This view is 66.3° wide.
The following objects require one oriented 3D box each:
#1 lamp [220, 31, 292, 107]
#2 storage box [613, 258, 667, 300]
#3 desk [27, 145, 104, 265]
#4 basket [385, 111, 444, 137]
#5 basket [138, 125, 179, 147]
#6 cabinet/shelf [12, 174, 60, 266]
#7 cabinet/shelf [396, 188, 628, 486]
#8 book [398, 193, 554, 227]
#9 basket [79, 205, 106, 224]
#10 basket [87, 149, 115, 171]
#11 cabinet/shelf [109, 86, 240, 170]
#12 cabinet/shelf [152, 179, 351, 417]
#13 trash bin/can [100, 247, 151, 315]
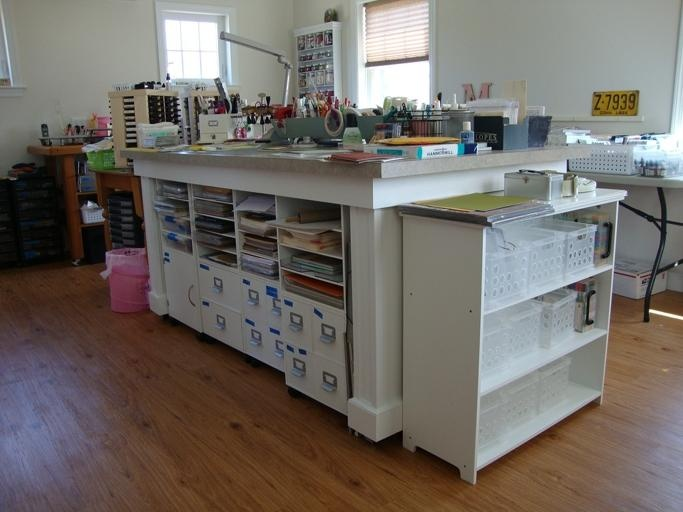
[{"bbox_3d":[-0.573,-1.229,3.554,0.516,0.585,0.127,-6,51,-25],"label":"lamp"},{"bbox_3d":[2.139,0.096,3.766,0.295,0.188,0.297,-14,21,-36],"label":"storage box"},{"bbox_3d":[-2.552,-0.470,4.823,0.886,0.910,0.619,13,20,41],"label":"desk"},{"bbox_3d":[0.371,-0.630,2.507,0.198,0.073,0.152,15,23,40],"label":"basket"},{"bbox_3d":[-1.243,-0.814,3.561,0.172,0.082,0.220,20,27,32],"label":"basket"},{"bbox_3d":[-2.905,-0.338,5.045,0.512,0.748,0.505,-25,-17,34],"label":"cabinet/shelf"},{"bbox_3d":[0.755,0.273,2.289,1.072,1.014,0.397,-10,15,-39],"label":"cabinet/shelf"},{"bbox_3d":[0.525,-0.197,2.036,0.491,0.059,0.383,-14,23,-34],"label":"book"},{"bbox_3d":[-2.374,-0.420,4.959,0.243,0.158,0.243,-11,23,-39],"label":"basket"},{"bbox_3d":[-1.915,-0.777,4.131,0.201,0.106,0.137,14,21,43],"label":"basket"},{"bbox_3d":[-1.471,-1.052,4.097,0.320,0.401,0.625,-18,15,7],"label":"cabinet/shelf"},{"bbox_3d":[-0.432,0.215,2.629,1.041,0.655,0.303,15,19,43],"label":"cabinet/shelf"},{"bbox_3d":[-1.510,0.206,3.724,0.329,0.484,0.367,11,-8,4],"label":"trash bin/can"}]
